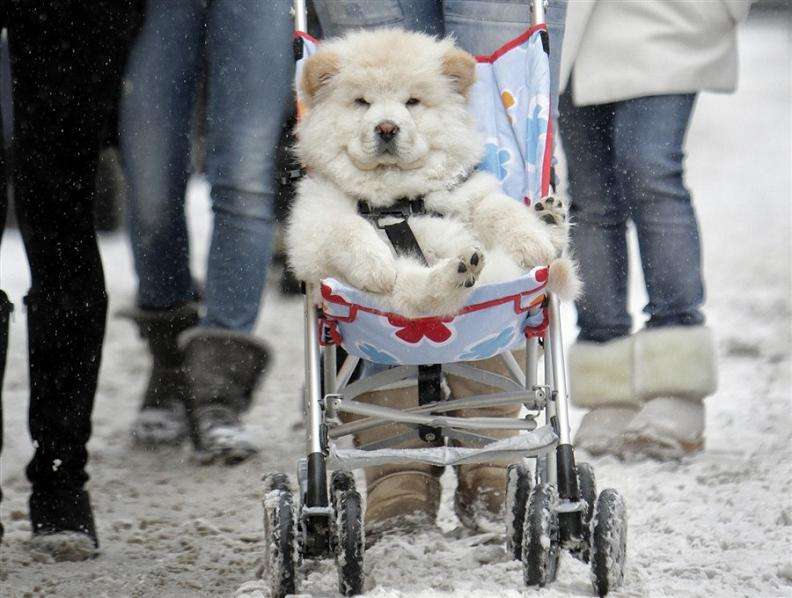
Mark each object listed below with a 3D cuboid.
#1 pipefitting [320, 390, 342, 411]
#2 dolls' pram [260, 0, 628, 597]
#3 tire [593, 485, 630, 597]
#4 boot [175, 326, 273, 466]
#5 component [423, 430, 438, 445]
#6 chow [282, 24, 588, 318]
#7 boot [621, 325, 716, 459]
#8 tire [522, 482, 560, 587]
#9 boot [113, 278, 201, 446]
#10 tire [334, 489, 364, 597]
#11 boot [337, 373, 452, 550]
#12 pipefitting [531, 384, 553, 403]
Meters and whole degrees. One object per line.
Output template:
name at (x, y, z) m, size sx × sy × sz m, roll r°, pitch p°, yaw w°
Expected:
pipefitting at (-0.212, 0.316, 4.931) m, size 0.048 × 0.064 × 0.025 m, roll 3°, pitch 13°, yaw 4°
dolls' pram at (0.137, -0.036, 4.961) m, size 1.108 × 1.745 × 0.965 m, roll -1°, pitch 14°, yaw -5°
tire at (0.649, 0.746, 4.784) m, size 0.105 × 0.302 × 0.146 m, roll 3°, pitch 14°, yaw 8°
boot at (-0.595, 0.335, 5.805) m, size 0.274 × 0.511 × 0.519 m, roll 5°, pitch -21°, yaw -17°
component at (0.101, 0.446, 5.045) m, size 0.033 × 0.033 × 0.012 m, roll -30°, pitch 33°, yaw 26°
chow at (0.014, -0.379, 5.002) m, size 0.830 × 0.673 × 1.201 m, roll -12°, pitch 35°, yaw -33°
boot at (1.043, 0.350, 5.899) m, size 0.292 × 0.467 × 0.467 m, roll 3°, pitch -9°, yaw 15°
tire at (0.440, 0.727, 4.786) m, size 0.107 × 0.297 × 0.162 m, roll 8°, pitch 16°, yaw 26°
boot at (-0.854, 0.270, 5.935) m, size 0.312 × 0.530 × 0.556 m, roll 1°, pitch 12°, yaw 5°
tire at (-0.148, 0.741, 4.815) m, size 0.090 × 0.298 × 0.191 m, roll 0°, pitch 14°, yaw -2°
boot at (-0.042, 0.653, 5.644) m, size 0.301 × 0.621 × 0.877 m, roll 9°, pitch -8°, yaw 8°
pipefitting at (0.456, 0.296, 4.932) m, size 0.041 × 0.061 × 0.030 m, roll 2°, pitch 5°, yaw 7°
